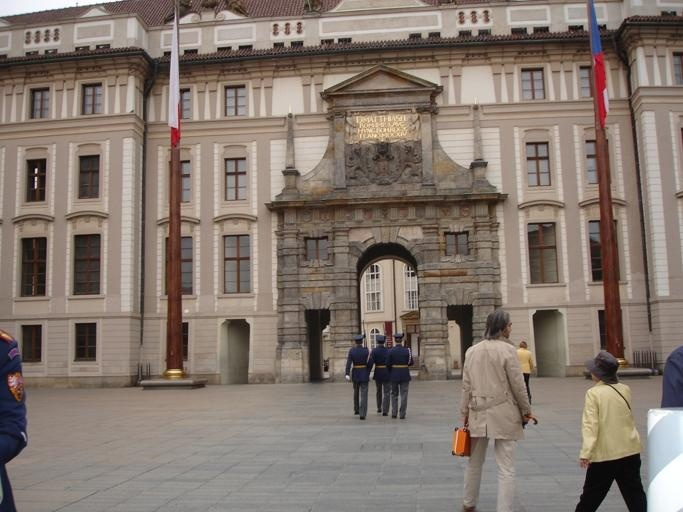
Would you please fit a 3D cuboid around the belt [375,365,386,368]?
[{"bbox_3d":[1.279,3.629,29.270,0.386,0.111,0.103,-5,-7,32],"label":"belt"}]

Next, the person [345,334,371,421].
[{"bbox_3d":[0.556,3.887,28.882,0.746,2.665,1.590,-1,-6,1],"label":"person"}]

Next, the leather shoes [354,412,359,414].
[{"bbox_3d":[0.493,5.083,28.889,0.141,0.093,0.140,-2,-4,3],"label":"leather shoes"}]

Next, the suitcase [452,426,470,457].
[{"bbox_3d":[2.637,4.087,19.592,0.389,0.637,0.343,-2,-6,6],"label":"suitcase"}]

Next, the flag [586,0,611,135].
[{"bbox_3d":[10.523,-8.097,36.821,0.526,5.681,1.774,-3,-6,15],"label":"flag"}]

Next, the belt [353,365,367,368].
[{"bbox_3d":[0.591,3.576,28.848,0.385,0.109,0.138,-1,-6,-1],"label":"belt"}]

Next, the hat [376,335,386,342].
[{"bbox_3d":[1.283,2.692,29.117,0.242,0.206,0.239,1,3,-3],"label":"hat"}]

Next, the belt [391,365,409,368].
[{"bbox_3d":[1.873,3.525,28.511,0.496,0.095,0.201,0,-6,-13],"label":"belt"}]
